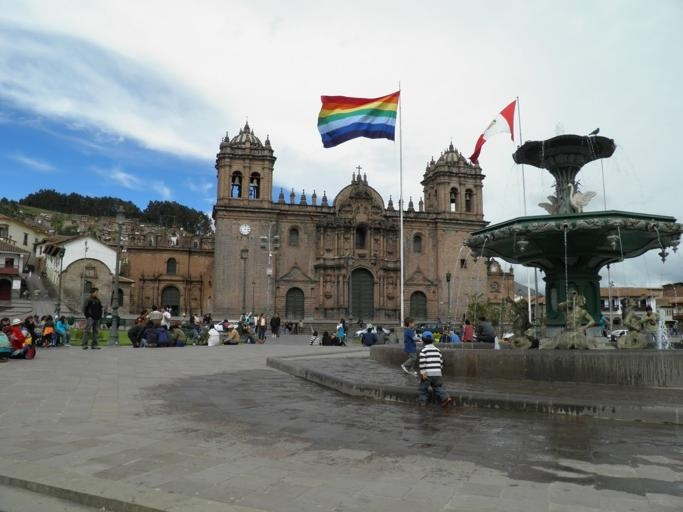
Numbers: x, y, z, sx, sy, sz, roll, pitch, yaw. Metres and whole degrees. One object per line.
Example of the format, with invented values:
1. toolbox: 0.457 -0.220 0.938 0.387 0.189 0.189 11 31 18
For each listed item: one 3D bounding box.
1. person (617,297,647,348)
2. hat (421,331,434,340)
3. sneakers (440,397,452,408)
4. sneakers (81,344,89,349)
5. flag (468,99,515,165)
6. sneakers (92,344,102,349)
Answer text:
1. person: 6.370 1.514 14.449 0.733 1.092 0.578 1 -7 -4
2. hat: 1.571 1.472 12.078 0.196 0.156 0.147 7 -6 11
3. sneakers: 1.887 2.628 11.764 0.184 0.167 0.136 0 -6 -5
4. sneakers: -8.383 2.973 21.529 0.141 0.167 0.356 0 -7 -34
5. flag: 5.751 -4.682 25.101 1.743 0.143 2.396 -13 -43 -1
6. sneakers: -8.009 2.997 21.541 0.241 0.175 0.095 -1 0 -19
